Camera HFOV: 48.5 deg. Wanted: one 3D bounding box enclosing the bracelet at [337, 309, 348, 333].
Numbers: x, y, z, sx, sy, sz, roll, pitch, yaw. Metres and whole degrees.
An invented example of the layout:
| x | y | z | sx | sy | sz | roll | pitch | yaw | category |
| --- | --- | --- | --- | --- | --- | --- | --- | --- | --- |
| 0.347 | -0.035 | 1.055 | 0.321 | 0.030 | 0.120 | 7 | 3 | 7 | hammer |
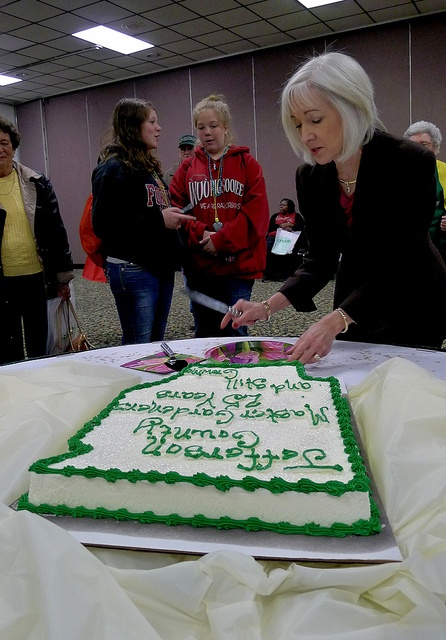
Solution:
| x | y | z | sx | sy | sz | roll | pitch | yaw | category |
| --- | --- | --- | --- | --- | --- | --- | --- | --- | --- |
| 0.281 | 0.001 | 1.171 | 0.031 | 0.055 | 0.030 | 4 | 11 | 28 | bracelet |

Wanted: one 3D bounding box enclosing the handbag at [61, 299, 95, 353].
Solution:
| x | y | z | sx | sy | sz | roll | pitch | yaw | category |
| --- | --- | --- | --- | --- | --- | --- | --- | --- | --- |
| -0.734 | 0.057 | 2.490 | 0.143 | 0.294 | 0.102 | -21 | -8 | 7 | handbag |

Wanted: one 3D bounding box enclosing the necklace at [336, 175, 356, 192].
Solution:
| x | y | z | sx | sy | sz | roll | pitch | yaw | category |
| --- | --- | --- | --- | --- | --- | --- | --- | --- | --- |
| 0.326 | -0.357 | 1.310 | 0.041 | 0.033 | 0.040 | 3 | -4 | -39 | necklace |

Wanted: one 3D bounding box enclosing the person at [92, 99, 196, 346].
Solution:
| x | y | z | sx | sy | sz | roll | pitch | yaw | category |
| --- | --- | --- | --- | --- | --- | --- | --- | --- | --- |
| -0.341 | -0.378 | 2.018 | 0.370 | 0.994 | 0.288 | -4 | 10 | -14 | person |
